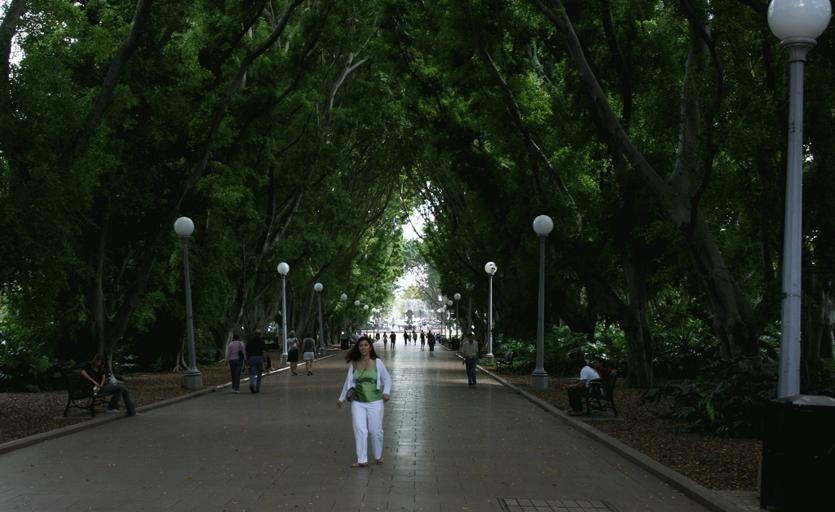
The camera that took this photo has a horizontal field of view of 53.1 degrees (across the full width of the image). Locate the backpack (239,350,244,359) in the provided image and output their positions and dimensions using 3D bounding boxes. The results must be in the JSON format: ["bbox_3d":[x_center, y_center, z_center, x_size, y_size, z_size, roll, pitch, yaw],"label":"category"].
[{"bbox_3d":[-6.658,3.705,31.508,0.199,0.289,0.145,23,-43,-38],"label":"backpack"}]

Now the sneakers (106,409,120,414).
[{"bbox_3d":[-9.204,4.705,25.309,0.329,0.143,0.129,0,3,0],"label":"sneakers"}]

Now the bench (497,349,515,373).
[{"bbox_3d":[4.595,5.475,42.920,0.932,1.442,1.026,1,-4,-10],"label":"bench"}]

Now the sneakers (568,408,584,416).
[{"bbox_3d":[4.738,4.693,25.088,0.476,0.222,0.164,2,-4,18],"label":"sneakers"}]

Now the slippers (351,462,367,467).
[{"bbox_3d":[-1.350,4.825,19.296,0.335,0.160,0.121,9,-8,-3],"label":"slippers"}]

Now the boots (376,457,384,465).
[{"bbox_3d":[-0.875,4.806,19.538,0.102,0.180,0.047,-2,10,4],"label":"boots"}]
